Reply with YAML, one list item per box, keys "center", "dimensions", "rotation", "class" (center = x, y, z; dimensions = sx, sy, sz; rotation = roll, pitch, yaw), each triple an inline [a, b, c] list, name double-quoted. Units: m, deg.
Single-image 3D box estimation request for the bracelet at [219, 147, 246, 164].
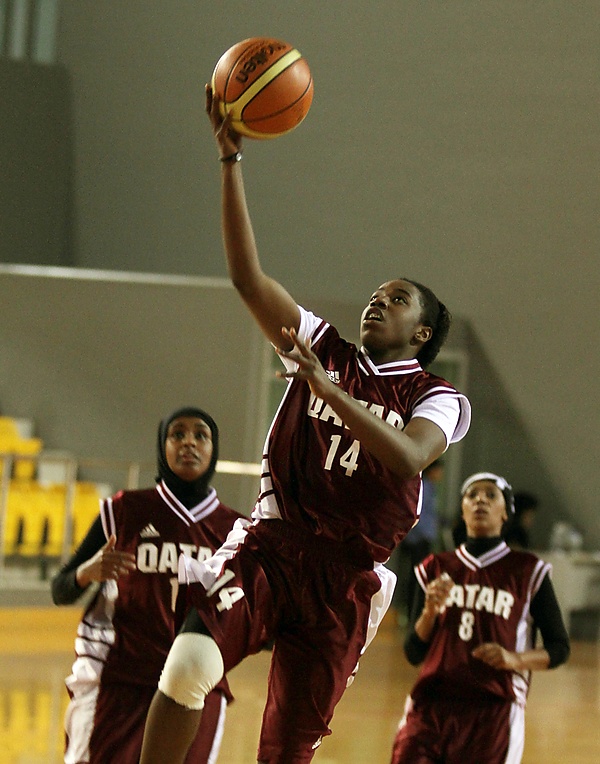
- center: [-0.134, -0.435, 1.864]
  dimensions: [0.041, 0.022, 0.031]
  rotation: [4, 19, 39]
  class: "bracelet"
